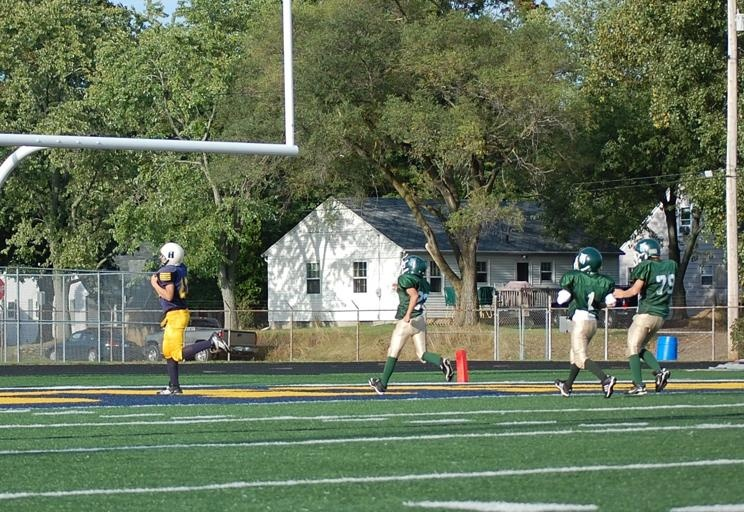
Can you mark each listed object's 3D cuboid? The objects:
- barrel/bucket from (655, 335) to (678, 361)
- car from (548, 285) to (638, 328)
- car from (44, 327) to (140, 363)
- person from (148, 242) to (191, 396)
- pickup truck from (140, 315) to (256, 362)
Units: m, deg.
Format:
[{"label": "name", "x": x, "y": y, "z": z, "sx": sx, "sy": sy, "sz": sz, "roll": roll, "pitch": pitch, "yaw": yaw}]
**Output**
[{"label": "barrel/bucket", "x": 9.499, "y": 2.963, "z": 51.550, "sx": 0.751, "sy": 0.820, "sz": 0.754, "roll": 3, "pitch": -2, "yaw": 0}, {"label": "car", "x": 8.844, "y": 2.205, "z": 60.477, "sx": 3.939, "sy": 2.370, "sz": 2.200, "roll": 1, "pitch": -3, "yaw": 2}, {"label": "car", "x": -9.319, "y": 2.937, "z": 53.271, "sx": 3.017, "sy": 1.070, "sz": 1.374, "roll": -1, "pitch": -1, "yaw": 32}, {"label": "person", "x": -4.994, "y": 1.545, "z": 38.898, "sx": 1.130, "sy": 3.666, "sz": 1.309, "roll": -1, "pitch": 0, "yaw": -9}, {"label": "pickup truck", "x": -6.107, "y": 2.983, "z": 56.276, "sx": 3.829, "sy": 1.515, "sz": 1.942, "roll": 0, "pitch": -2, "yaw": 9}]
